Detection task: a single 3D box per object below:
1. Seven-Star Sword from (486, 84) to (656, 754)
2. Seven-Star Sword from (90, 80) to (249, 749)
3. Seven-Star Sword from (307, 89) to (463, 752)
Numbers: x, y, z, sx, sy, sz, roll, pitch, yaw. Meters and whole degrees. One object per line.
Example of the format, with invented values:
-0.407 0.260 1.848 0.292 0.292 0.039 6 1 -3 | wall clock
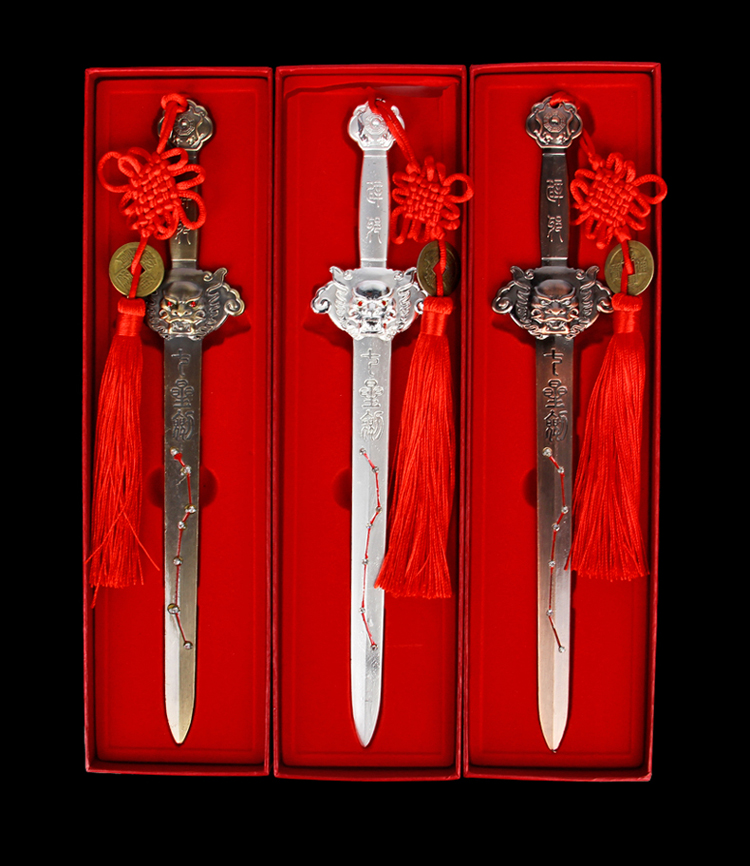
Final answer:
0.290 -0.014 1.912 0.169 1.095 0.104 3 -4 -26 | Seven-Star Sword
-0.346 -0.018 1.916 0.244 1.084 0.137 2 -4 -7 | Seven-Star Sword
-0.012 -0.008 1.911 0.158 1.071 0.109 4 -4 -34 | Seven-Star Sword
